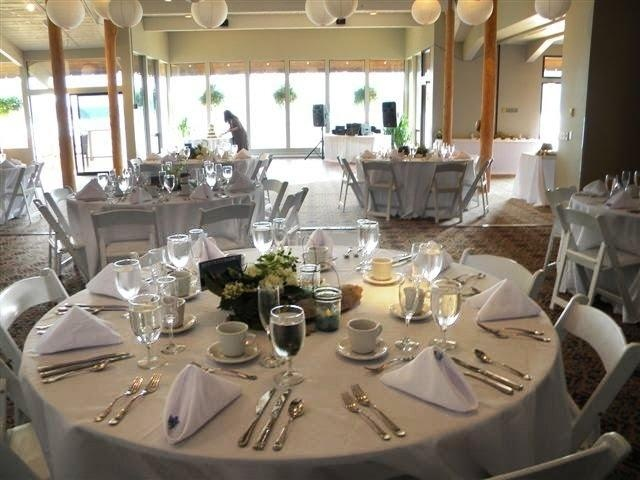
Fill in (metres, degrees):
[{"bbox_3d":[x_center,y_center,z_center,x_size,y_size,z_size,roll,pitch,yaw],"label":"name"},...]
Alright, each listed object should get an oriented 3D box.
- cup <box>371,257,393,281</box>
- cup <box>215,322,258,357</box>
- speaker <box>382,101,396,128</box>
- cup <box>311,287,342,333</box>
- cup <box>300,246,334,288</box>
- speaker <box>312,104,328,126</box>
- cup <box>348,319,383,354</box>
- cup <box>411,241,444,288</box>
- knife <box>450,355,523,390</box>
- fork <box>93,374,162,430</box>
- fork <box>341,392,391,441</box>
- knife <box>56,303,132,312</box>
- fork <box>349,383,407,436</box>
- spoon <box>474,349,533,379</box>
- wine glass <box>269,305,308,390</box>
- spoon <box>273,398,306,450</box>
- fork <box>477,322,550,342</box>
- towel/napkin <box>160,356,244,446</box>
[{"bbox_3d":[0.304,0.140,2.209,0.078,0.092,0.109,2,17,13],"label":"cup"},{"bbox_3d":[-0.299,0.351,1.543,0.113,0.091,0.097,5,24,4],"label":"cup"},{"bbox_3d":[2.031,-3.636,12.668,0.337,0.727,0.566,-1,11,3],"label":"speaker"},{"bbox_3d":[0.033,0.280,1.779,0.129,0.159,0.135,-1,17,0],"label":"cup"},{"bbox_3d":[-0.025,0.125,2.116,0.155,0.168,0.168,1,23,0],"label":"cup"},{"bbox_3d":[-0.044,-4.582,16.130,0.436,0.782,0.323,-2,11,-4],"label":"speaker"},{"bbox_3d":[0.157,0.344,1.599,0.087,0.089,0.120,1,4,10],"label":"cup"},{"bbox_3d":[0.462,0.109,1.878,0.107,0.188,0.105,-1,20,0],"label":"cup"},{"bbox_3d":[0.550,0.440,1.438,0.032,0.021,0.238,-12,19,-29],"label":"knife"},{"bbox_3d":[-0.588,0.486,1.347,0.051,0.029,0.191,0,22,13],"label":"fork"},{"bbox_3d":[0.130,0.482,1.258,0.045,0.042,0.265,1,13,-17],"label":"fork"},{"bbox_3d":[-0.973,0.288,1.873,0.286,0.016,0.070,2,22,-8],"label":"knife"},{"bbox_3d":[0.165,0.502,1.282,0.048,0.049,0.319,3,16,-16],"label":"fork"},{"bbox_3d":[0.617,0.425,1.505,0.049,0.044,0.236,-12,22,-24],"label":"spoon"},{"bbox_3d":[-0.104,0.349,1.395,0.128,0.282,0.139,-7,21,-12],"label":"wine glass"},{"bbox_3d":[-0.094,0.526,1.224,0.040,0.035,0.215,12,19,10],"label":"spoon"},{"bbox_3d":[0.754,0.360,1.699,0.252,0.058,0.039,-2,5,24],"label":"fork"},{"bbox_3d":[-0.355,0.447,1.277,0.122,0.153,0.252,7,13,35],"label":"towel/napkin"}]
